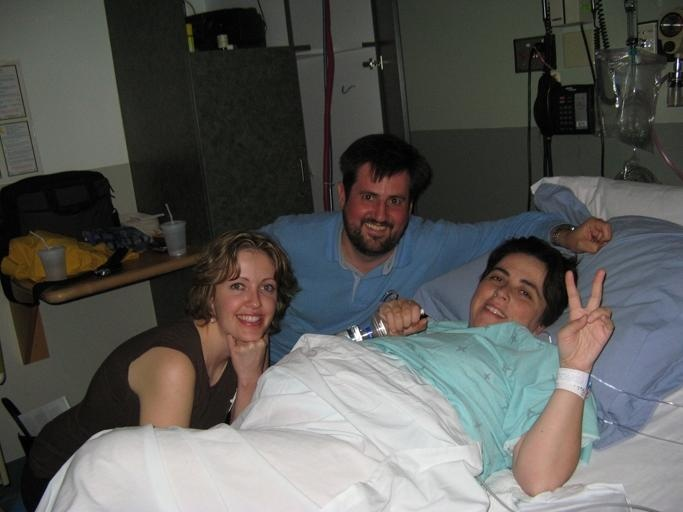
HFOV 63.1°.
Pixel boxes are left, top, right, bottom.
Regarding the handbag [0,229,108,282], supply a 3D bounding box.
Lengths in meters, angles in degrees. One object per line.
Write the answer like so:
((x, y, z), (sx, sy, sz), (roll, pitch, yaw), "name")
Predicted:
((-1.358, -0.005, 2.633), (0.306, 0.115, 0.308), (-5, 18, -30), "handbag")

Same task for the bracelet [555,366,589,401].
((0.700, 0.379, 1.677), (0.082, 0.074, 0.088), (10, 3, 28), "bracelet")

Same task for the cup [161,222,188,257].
((-0.841, -0.094, 2.817), (0.152, 0.185, 0.153), (0, 7, 0), "cup")

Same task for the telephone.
((1.075, -0.739, 2.686), (0.285, 0.311, 0.106), (2, 12, 27), "telephone")

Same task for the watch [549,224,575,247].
((0.892, -0.082, 2.250), (0.082, 0.091, 0.031), (-10, -33, 43), "watch")
